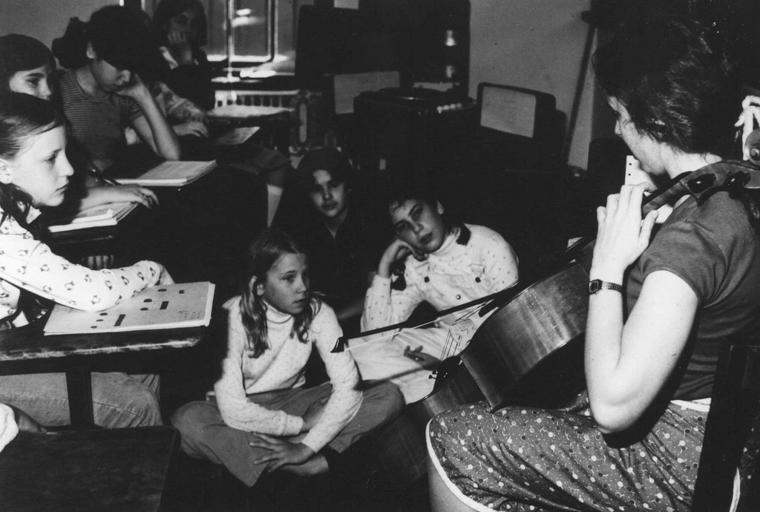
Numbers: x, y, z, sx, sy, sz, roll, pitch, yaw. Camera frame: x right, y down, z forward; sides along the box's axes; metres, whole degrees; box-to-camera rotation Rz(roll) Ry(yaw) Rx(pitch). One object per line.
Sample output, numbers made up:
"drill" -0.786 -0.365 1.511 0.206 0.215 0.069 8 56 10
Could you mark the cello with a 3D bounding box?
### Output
"cello" 0.615 0.177 1.853 0.278 0.952 0.513 52 16 13
